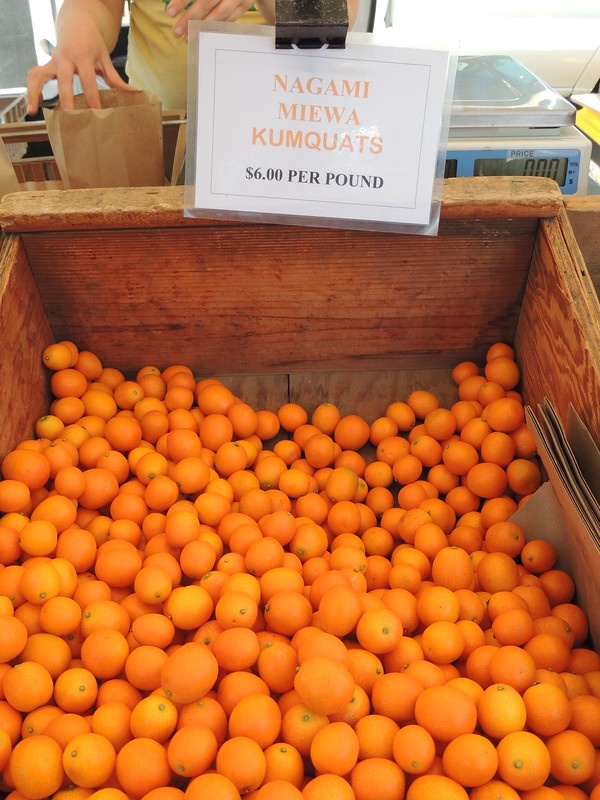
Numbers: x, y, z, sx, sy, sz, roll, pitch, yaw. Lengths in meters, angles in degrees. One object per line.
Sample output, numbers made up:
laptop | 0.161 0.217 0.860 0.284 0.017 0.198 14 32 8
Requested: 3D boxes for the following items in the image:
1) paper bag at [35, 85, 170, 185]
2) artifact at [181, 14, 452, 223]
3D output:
paper bag | -0.426 -0.553 1.444 0.237 0.184 0.116 -2 45 -6
artifact | 0.026 -0.479 1.131 0.446 0.309 0.102 1 11 1
